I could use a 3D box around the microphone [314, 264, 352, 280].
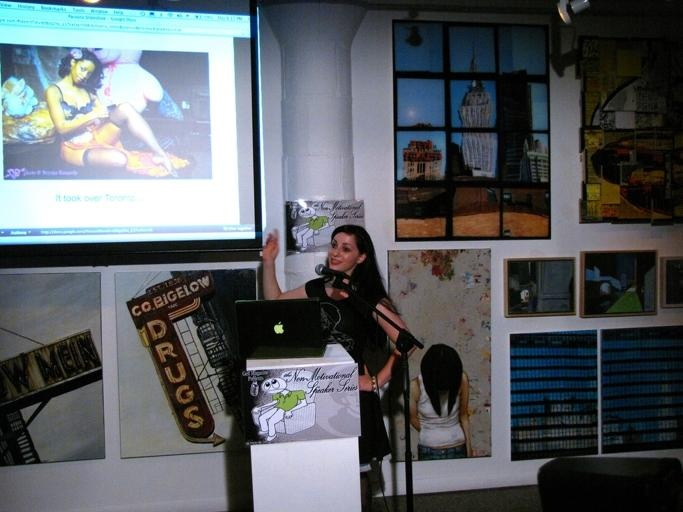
[{"bbox_3d":[-0.034,0.085,3.342,0.207,0.082,0.070,20,-9,-37],"label":"microphone"}]

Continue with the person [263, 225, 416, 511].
[{"bbox_3d":[-0.024,0.673,3.729,0.771,1.651,0.843,-5,8,-8],"label":"person"}]

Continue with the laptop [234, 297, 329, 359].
[{"bbox_3d":[-0.324,0.366,3.347,0.388,0.305,0.299,0,1,1],"label":"laptop"}]
